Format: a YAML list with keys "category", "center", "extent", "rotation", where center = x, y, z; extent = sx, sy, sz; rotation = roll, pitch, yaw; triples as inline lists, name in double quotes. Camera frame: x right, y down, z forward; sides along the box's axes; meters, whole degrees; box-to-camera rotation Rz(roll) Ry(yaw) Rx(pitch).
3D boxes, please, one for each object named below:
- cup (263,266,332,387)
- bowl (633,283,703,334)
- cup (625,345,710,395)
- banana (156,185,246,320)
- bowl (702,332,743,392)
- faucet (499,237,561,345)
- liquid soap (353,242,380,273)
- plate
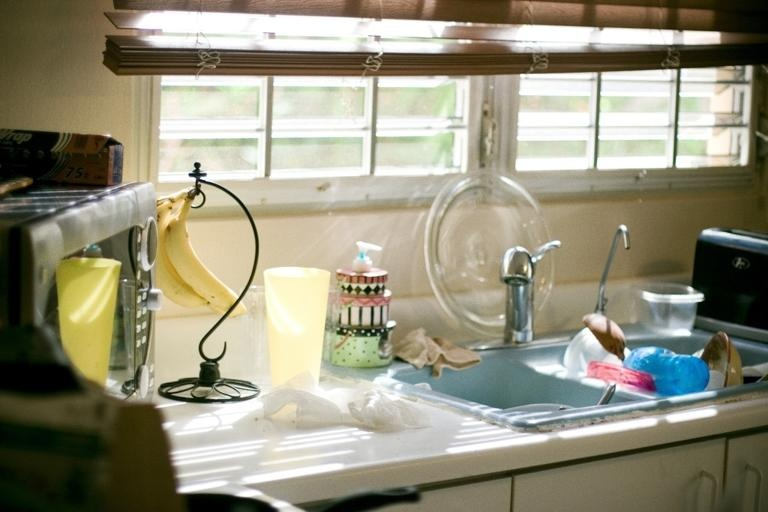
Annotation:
- category: "cup"
  center: [-0.178, 0.145, 1.250]
  extent: [0.125, 0.230, 0.074]
  rotation: [2, 9, -9]
- category: "bowl"
  center: [0.773, 0.144, 1.748]
  extent: [0.176, 0.120, 0.170]
  rotation: [3, 9, 0]
- category: "cup"
  center: [0.625, 0.247, 1.387]
  extent: [0.155, 0.093, 0.077]
  rotation: [6, -15, 35]
- category: "banana"
  center: [-0.376, -0.013, 1.249]
  extent: [0.149, 0.246, 0.127]
  rotation: [0, 10, -20]
- category: "bowl"
  center: [0.780, 0.242, 1.458]
  extent: [0.063, 0.175, 0.059]
  rotation: [12, -41, 10]
- category: "faucet"
  center: [0.372, 0.092, 1.644]
  extent: [0.138, 0.269, 0.089]
  rotation: [5, 10, 13]
- category: "liquid soap"
  center: [-0.030, 0.003, 1.503]
  extent: [0.081, 0.079, 0.072]
  rotation: [-2, 3, -22]
- category: "plate"
  center: [0.262, -0.016, 1.677]
  extent: [0.428, 0.404, 0.083]
  rotation: [-9, 9, -36]
